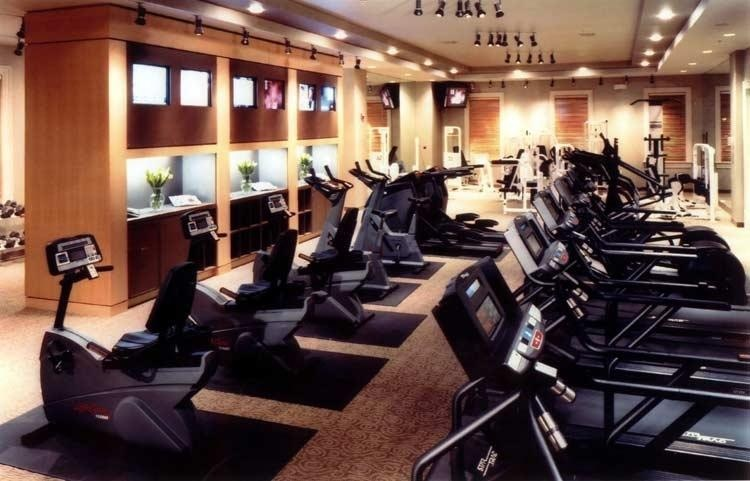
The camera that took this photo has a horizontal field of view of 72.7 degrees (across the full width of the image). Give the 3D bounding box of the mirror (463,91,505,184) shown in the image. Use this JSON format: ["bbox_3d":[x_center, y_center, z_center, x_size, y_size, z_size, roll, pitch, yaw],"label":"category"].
[{"bbox_3d":[4.057,-3.476,18.925,0.249,3.542,1.382,-16,22,-42],"label":"mirror"}]

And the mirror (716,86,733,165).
[{"bbox_3d":[11.124,-3.570,16.164,0.089,2.210,0.540,-8,10,-4],"label":"mirror"}]

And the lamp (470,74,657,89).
[{"bbox_3d":[6.567,-5.342,17.111,6.079,0.321,0.412,3,18,18],"label":"lamp"}]

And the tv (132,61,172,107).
[{"bbox_3d":[-3.037,-2.137,6.966,0.825,0.482,0.056,16,20,35],"label":"tv"}]

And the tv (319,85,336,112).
[{"bbox_3d":[-1.010,-2.985,10.720,0.066,0.418,0.622,-6,12,27],"label":"tv"}]

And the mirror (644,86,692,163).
[{"bbox_3d":[9.789,-3.747,16.799,1.161,2.369,0.330,5,15,24],"label":"mirror"}]

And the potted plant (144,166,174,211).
[{"bbox_3d":[-3.188,-0.741,7.469,0.419,0.546,0.378,-2,5,-41],"label":"potted plant"}]

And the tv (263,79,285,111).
[{"bbox_3d":[-1.827,-2.611,9.156,0.075,0.561,0.680,2,8,25],"label":"tv"}]
